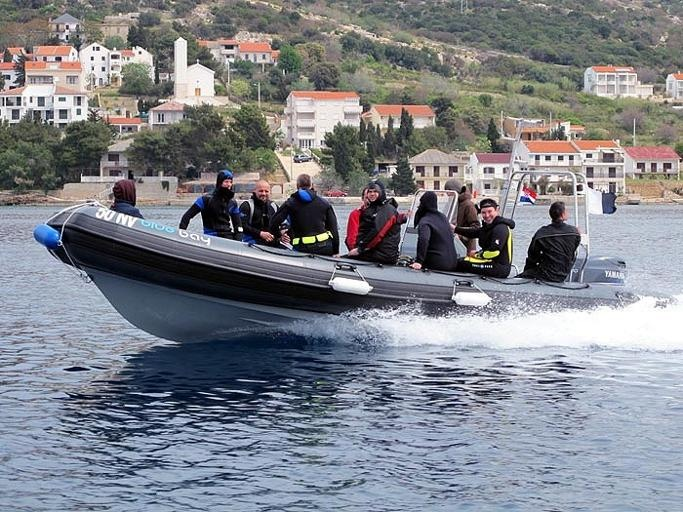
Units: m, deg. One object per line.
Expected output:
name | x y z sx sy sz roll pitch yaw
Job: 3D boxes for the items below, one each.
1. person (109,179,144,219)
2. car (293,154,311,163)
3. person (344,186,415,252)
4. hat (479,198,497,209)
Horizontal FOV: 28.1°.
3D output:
person | -5.066 -1.334 31.785 0.680 0.890 1.246 0 4 -10
car | -3.673 -8.446 118.871 1.006 0.652 1.865 5 6 43
person | 0.419 -0.824 32.732 1.590 1.602 0.545 -2 19 -3
hat | 3.371 -1.211 31.751 0.338 0.151 0.291 0 -4 0
